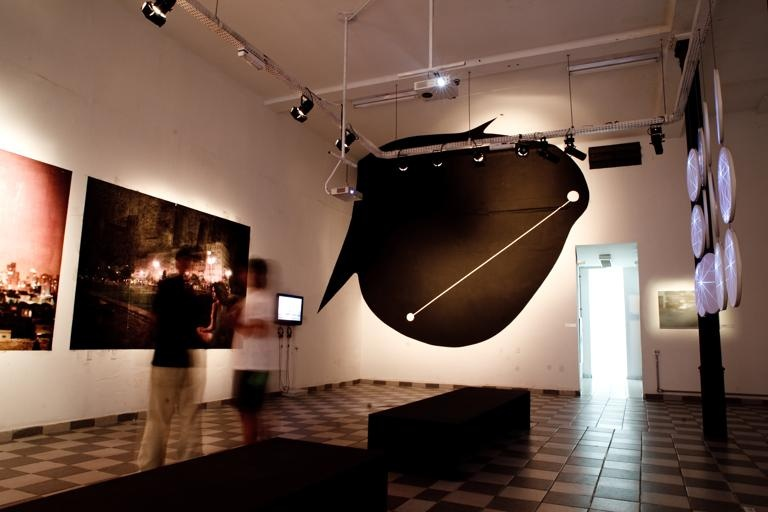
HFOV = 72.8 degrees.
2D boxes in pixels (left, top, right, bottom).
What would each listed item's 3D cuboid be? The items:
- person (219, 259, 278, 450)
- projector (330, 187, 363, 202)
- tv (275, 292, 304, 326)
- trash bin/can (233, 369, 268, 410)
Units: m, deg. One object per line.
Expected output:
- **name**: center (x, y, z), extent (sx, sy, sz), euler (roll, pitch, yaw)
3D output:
- **person**: center (-1.492, 1.110, 5.919), extent (0.472, 2.159, 0.821), euler (2, -4, -15)
- **projector**: center (-0.669, -0.994, 8.404), extent (0.371, 0.104, 0.415), euler (-1, -7, 30)
- **tv**: center (-2.159, 1.212, 11.717), extent (0.132, 0.876, 1.121), euler (-7, -13, 28)
- **trash bin/can**: center (-1.527, 1.557, 6.075), extent (0.420, 0.524, 0.442), euler (3, -15, -2)
